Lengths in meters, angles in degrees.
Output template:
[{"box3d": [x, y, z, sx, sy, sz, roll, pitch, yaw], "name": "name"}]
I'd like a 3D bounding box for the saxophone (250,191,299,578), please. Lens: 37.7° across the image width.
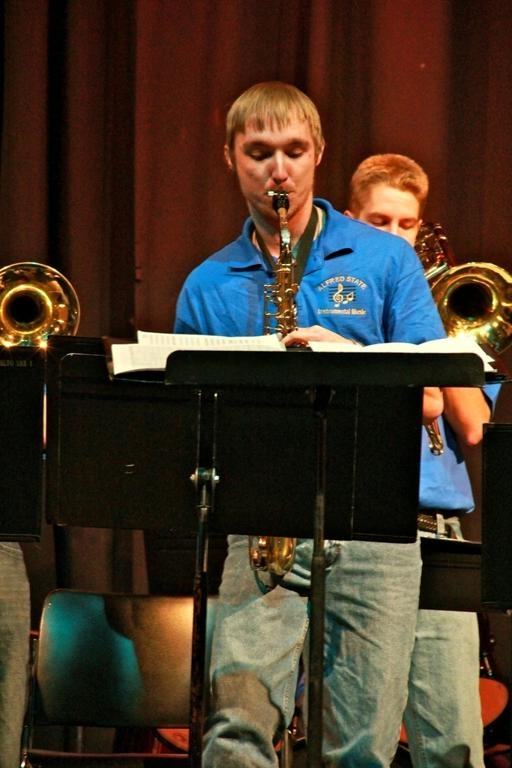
[{"box3d": [0.044, 0.007, 1.624, 0.102, 0.802, 0.182, -2, -1, 33], "name": "saxophone"}]
